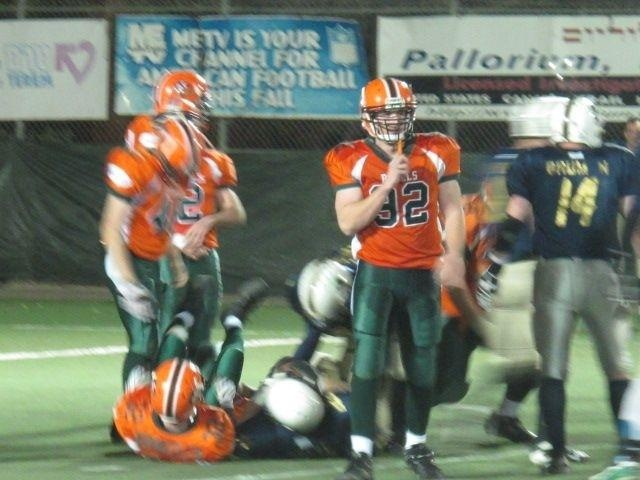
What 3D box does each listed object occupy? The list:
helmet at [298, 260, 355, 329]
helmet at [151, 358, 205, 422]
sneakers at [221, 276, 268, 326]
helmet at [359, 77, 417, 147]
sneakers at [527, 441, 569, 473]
[{"bbox_3d":[0.013,0.353,4.905,0.313,0.368,0.397,37,-23,-11],"label":"helmet"},{"bbox_3d":[-0.769,0.822,4.364,0.260,0.349,0.299,0,-24,-3],"label":"helmet"},{"bbox_3d":[-0.495,0.399,4.953,0.190,0.142,0.443,-42,7,49],"label":"sneakers"},{"bbox_3d":[0.363,-0.722,4.365,0.285,0.308,0.382,-2,16,-4],"label":"helmet"},{"bbox_3d":[1.343,1.282,4.581,0.073,0.138,0.214,10,-3,-27],"label":"sneakers"}]
